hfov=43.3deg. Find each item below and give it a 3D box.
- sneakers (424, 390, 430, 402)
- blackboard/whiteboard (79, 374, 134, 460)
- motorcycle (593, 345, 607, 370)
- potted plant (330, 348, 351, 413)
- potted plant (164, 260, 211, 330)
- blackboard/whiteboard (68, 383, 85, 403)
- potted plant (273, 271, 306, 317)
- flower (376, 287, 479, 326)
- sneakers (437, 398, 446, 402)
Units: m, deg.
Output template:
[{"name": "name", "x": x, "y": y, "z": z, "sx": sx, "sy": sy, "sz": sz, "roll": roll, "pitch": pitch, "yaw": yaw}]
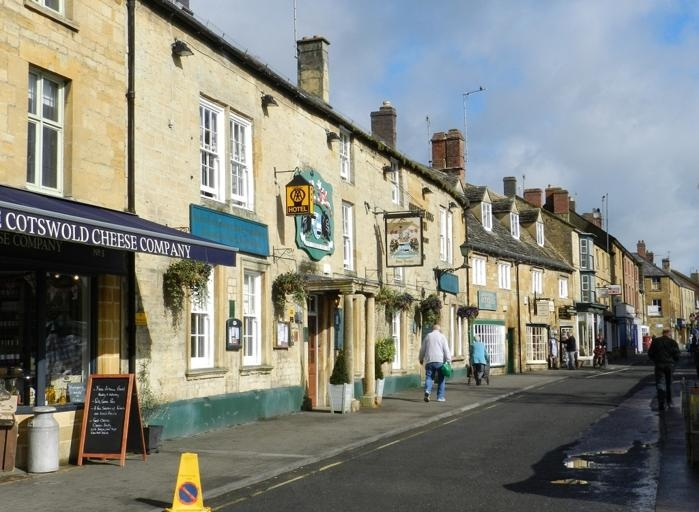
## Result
[{"name": "sneakers", "x": 2.187, "y": 3.996, "z": 25.024, "sx": 0.113, "sy": 0.168, "sz": 0.382, "roll": -1, "pitch": -31, "yaw": 7}, {"name": "blackboard/whiteboard", "x": -4.318, "y": 2.892, "z": 15.680, "sx": 1.032, "sy": 1.635, "sz": 0.221, "roll": -7, "pitch": -12, "yaw": 14}, {"name": "motorcycle", "x": 13.193, "y": 5.273, "z": 46.482, "sx": 0.643, "sy": 0.927, "sz": 1.277, "roll": 1, "pitch": 2, "yaw": 24}, {"name": "potted plant", "x": -0.242, "y": 3.237, "z": 22.685, "sx": 0.563, "sy": 1.559, "sz": 0.598, "roll": 2, "pitch": -13, "yaw": -21}, {"name": "potted plant", "x": -3.600, "y": 0.794, "z": 18.626, "sx": 1.025, "sy": 1.703, "sz": 1.268, "roll": 3, "pitch": 3, "yaw": 24}, {"name": "blackboard/whiteboard", "x": -5.085, "y": 2.534, "z": 16.373, "sx": 0.099, "sy": 0.325, "sz": 0.283, "roll": -13, "pitch": -15, "yaw": 41}, {"name": "potted plant", "x": -1.556, "y": 0.947, "z": 22.105, "sx": 0.458, "sy": 1.052, "sz": 0.914, "roll": 3, "pitch": 0, "yaw": 38}, {"name": "flower", "x": 2.744, "y": 1.815, "z": 32.057, "sx": 3.639, "sy": 1.441, "sz": 0.974, "roll": 19, "pitch": -15, "yaw": -40}, {"name": "sneakers", "x": 2.648, "y": 4.129, "z": 25.331, "sx": 0.234, "sy": 0.105, "sz": 0.406, "roll": -5, "pitch": -14, "yaw": 4}]
